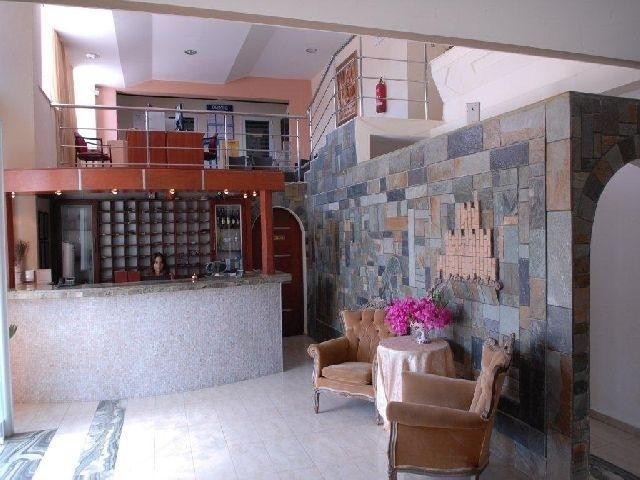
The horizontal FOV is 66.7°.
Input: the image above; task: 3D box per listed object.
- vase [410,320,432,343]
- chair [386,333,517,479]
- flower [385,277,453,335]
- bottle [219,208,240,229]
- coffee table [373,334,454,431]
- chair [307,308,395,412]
[{"bbox_3d":[1.132,1.041,5.529,0.212,0.249,0.221,0,-2,2],"label":"vase"},{"bbox_3d":[1.211,1.651,5.055,1.329,1.813,1.288,1,-2,16],"label":"chair"},{"bbox_3d":[1.093,0.878,5.728,0.655,0.396,0.540,-14,-10,32],"label":"flower"},{"bbox_3d":[-1.846,-0.457,9.984,0.372,0.555,0.159,3,7,17],"label":"bottle"},{"bbox_3d":[0.979,1.572,5.675,0.937,0.965,0.956,-3,5,-17],"label":"coffee table"},{"bbox_3d":[0.416,1.594,6.481,1.249,1.423,1.125,-3,-6,37],"label":"chair"}]
